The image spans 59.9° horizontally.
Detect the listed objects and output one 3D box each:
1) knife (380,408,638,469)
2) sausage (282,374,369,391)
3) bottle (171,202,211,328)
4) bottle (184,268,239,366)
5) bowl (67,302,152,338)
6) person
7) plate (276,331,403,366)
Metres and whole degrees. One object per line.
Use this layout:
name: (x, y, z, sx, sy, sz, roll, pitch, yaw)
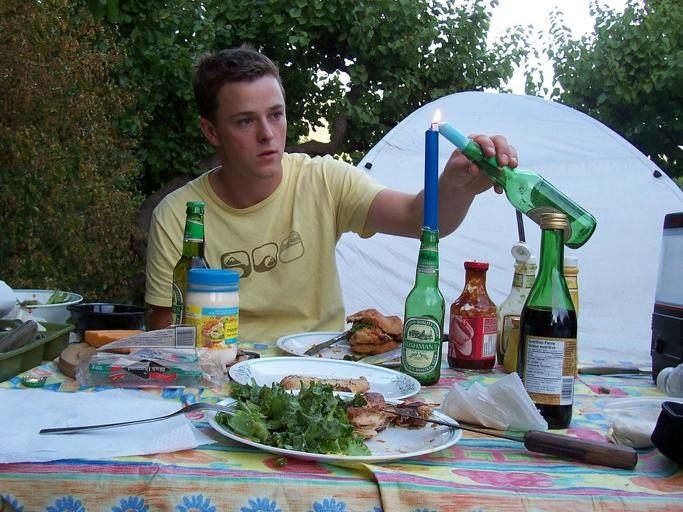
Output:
knife: (0.294, 0.302, 1.070, 0.292, 0.075, 0.334, 2, -3, -27)
sausage: (-0.035, 0.268, 1.242, 0.151, 0.036, 0.053, 4, 5, -16)
bottle: (-0.364, 0.012, 1.490, 0.070, 0.284, 0.114, 0, 2, -11)
bottle: (-0.298, 0.130, 1.423, 0.102, 0.259, 0.105, 3, 2, 0)
bowl: (-0.627, 0.161, 1.642, 0.192, 0.101, 0.152, 2, 6, 8)
person: (-0.131, -0.253, 2.453, 1.104, 1.071, 1.467, -19, 9, -38)
plate: (-0.029, 0.252, 1.676, 0.216, 0.062, 0.184, 1, 2, -34)
